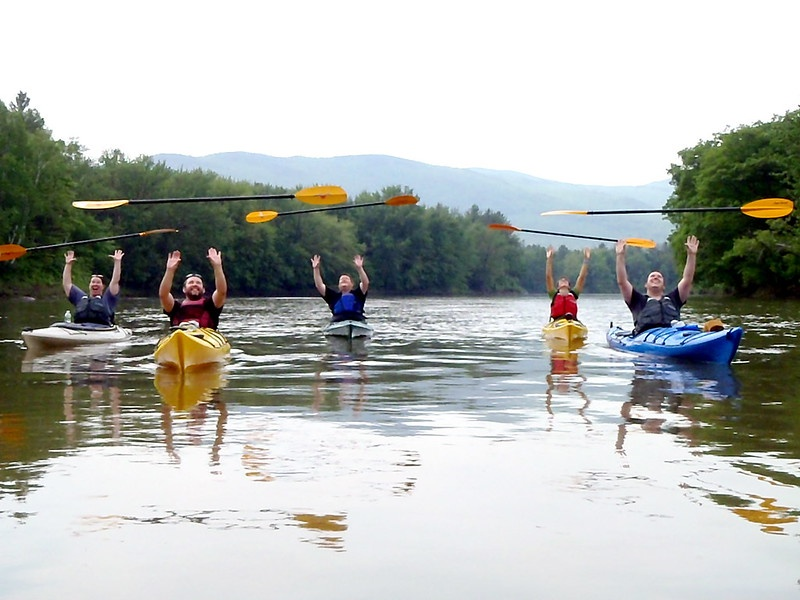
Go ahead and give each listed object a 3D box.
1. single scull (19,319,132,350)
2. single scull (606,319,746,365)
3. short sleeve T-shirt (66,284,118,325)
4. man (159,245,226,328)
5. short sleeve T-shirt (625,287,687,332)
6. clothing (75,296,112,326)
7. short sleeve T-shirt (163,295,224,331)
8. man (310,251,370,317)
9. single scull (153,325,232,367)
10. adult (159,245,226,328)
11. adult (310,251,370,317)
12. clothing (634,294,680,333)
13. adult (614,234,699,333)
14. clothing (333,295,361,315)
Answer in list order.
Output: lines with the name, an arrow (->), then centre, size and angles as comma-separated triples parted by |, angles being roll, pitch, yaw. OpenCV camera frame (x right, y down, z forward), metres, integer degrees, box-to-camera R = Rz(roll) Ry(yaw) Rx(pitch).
single scull -> -5.336, 0.591, 15.478 | 0.601, 0.383, 1.827 | 4, 3, 34
single scull -> 4.162, 0.643, 13.879 | 0.757, 0.401, 2.388 | 1, -1, -23
short sleeve T-shirt -> -5.391, 0.087, 16.205 | 0.898, 0.754, 0.486 | -2, -12, 6
man -> -3.041, -0.119, 13.467 | 0.885, 1.381, 1.511 | -3, 10, -14
short sleeve T-shirt -> 4.236, 0.186, 15.092 | 0.958, 0.793, 0.507 | 1, -22, -6
clothing -> -5.396, 0.242, 16.158 | 0.567, 0.491, 0.529 | 2, -34, -1
short sleeve T-shirt -> -3.082, 0.381, 13.883 | 0.998, 0.848, 0.518 | -1, -6, -2
man -> -1.116, -0.221, 18.592 | 0.948, 1.450, 1.514 | 0, 10, 1
single scull -> -3.063, 0.728, 13.008 | 0.868, 0.578, 2.142 | -4, 0, -11
adult -> -3.043, -0.118, 13.476 | 0.886, 1.376, 1.459 | -3, 10, -14
adult -> -1.115, -0.228, 18.639 | 0.948, 1.450, 1.420 | 0, 10, 1
clothing -> 4.198, 0.289, 14.977 | 0.915, 0.543, 1.013 | 2, 26, 12
adult -> 4.223, -0.219, 15.128 | 1.188, 1.774, 3.599 | 3, 10, 16
clothing -> -1.068, 0.078, 18.886 | 0.403, 0.415, 0.491 | -1, 16, 5
